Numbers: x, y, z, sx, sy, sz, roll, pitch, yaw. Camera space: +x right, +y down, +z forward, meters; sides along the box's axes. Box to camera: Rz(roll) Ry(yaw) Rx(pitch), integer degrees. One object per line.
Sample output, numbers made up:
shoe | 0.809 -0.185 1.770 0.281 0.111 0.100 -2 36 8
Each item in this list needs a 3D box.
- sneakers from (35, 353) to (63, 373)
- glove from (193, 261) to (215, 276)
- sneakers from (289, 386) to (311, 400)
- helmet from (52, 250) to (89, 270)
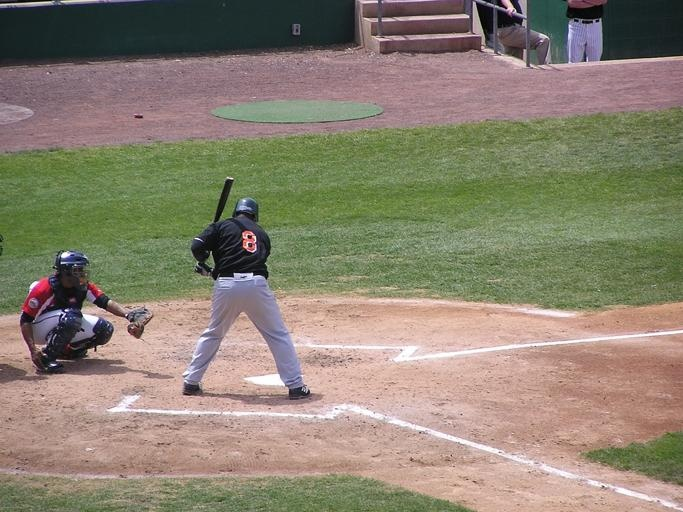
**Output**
sneakers | -3.913 1.438 14.595 0.484 0.185 0.220 -1 9 -6
glove | -1.773 0.150 13.958 0.301 0.112 0.180 19 -3 -4
sneakers | -0.545 1.752 13.918 0.143 0.104 0.322 5 10 41
helmet | -3.571 0.041 14.423 0.494 0.171 0.282 2 4 -2
